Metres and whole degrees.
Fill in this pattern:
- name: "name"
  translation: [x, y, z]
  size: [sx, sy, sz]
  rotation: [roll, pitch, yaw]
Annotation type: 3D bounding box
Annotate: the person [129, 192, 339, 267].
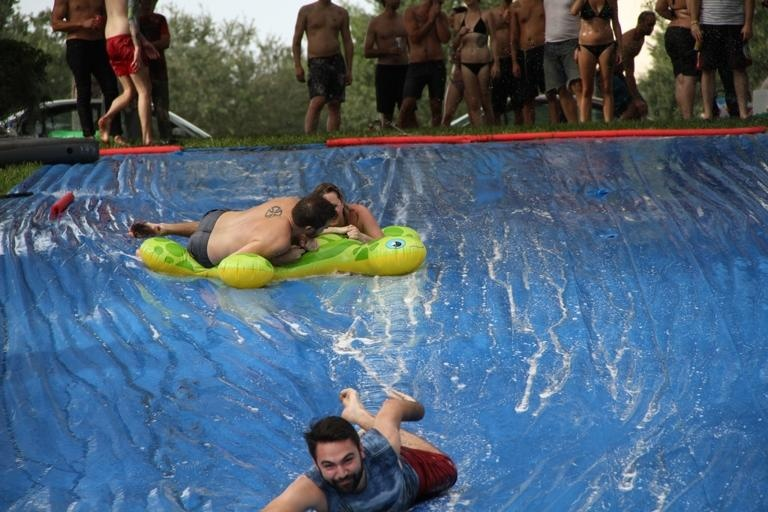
- name: "person"
  translation: [-1.295, -0.259, 8.168]
  size: [1.546, 0.703, 0.766]
  rotation: [7, 39, -4]
